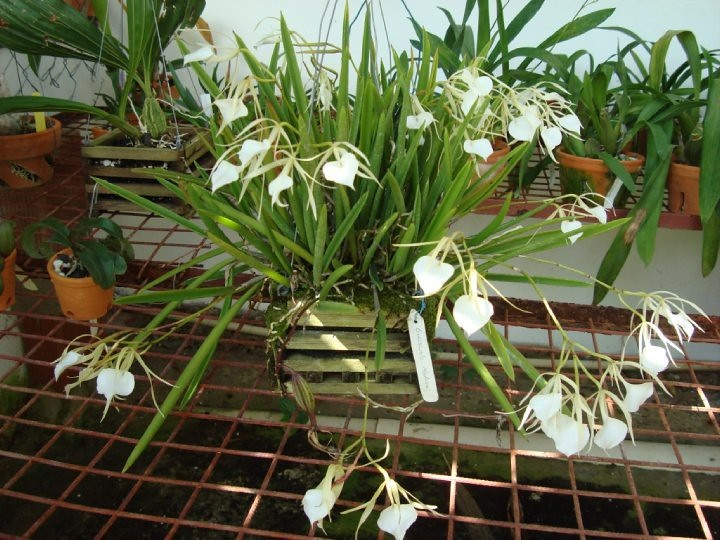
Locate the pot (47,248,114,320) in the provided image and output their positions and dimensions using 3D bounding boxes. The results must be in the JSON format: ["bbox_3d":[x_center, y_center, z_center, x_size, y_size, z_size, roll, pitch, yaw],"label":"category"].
[{"bbox_3d":[-0.646,0.064,1.123,0.123,0.089,0.126,5,2,0],"label":"pot"}]

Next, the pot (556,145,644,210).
[{"bbox_3d":[0.607,-0.250,1.217,0.187,0.130,0.181,-4,32,2],"label":"pot"}]

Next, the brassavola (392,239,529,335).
[{"bbox_3d":[0.118,0.015,0.583,0.146,0.156,0.118,12,-14,-7],"label":"brassavola"}]
